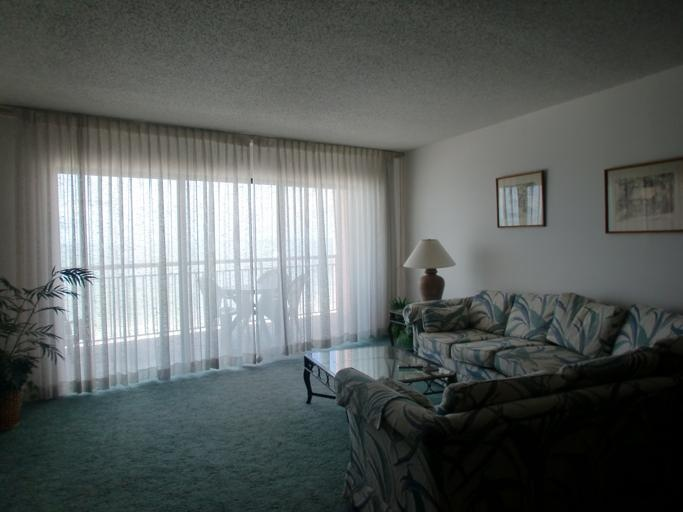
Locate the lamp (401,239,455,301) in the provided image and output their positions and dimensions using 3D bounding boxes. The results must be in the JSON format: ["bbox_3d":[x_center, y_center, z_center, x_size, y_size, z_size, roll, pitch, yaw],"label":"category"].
[{"bbox_3d":[1.143,0.174,6.077,0.701,0.906,0.720,-2,-4,15],"label":"lamp"}]

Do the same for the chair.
[{"bbox_3d":[-0.971,0.659,6.013,1.243,0.993,0.973,-2,6,-17],"label":"chair"}]

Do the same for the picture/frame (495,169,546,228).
[{"bbox_3d":[2.030,-0.647,5.370,0.049,0.739,0.657,-3,4,-34],"label":"picture/frame"}]
